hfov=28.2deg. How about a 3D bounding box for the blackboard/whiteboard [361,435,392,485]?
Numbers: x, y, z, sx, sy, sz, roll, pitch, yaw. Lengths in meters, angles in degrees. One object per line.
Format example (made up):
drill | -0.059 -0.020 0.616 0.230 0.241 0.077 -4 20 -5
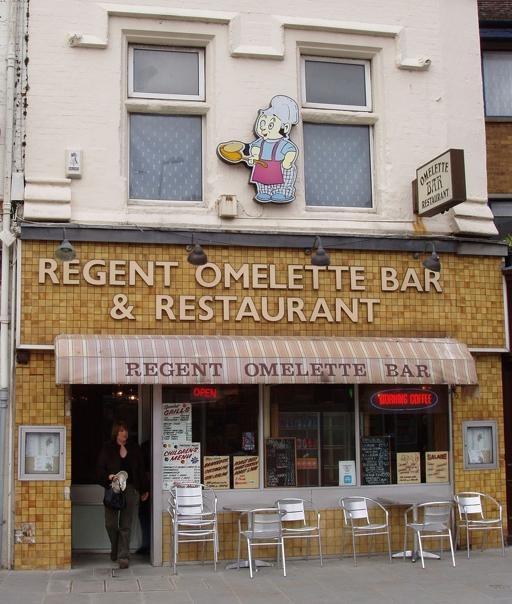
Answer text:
blackboard/whiteboard | 1.557 2.099 13.382 0.547 0.845 0.054 2 -11 -13

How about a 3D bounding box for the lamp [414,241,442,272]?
lamp | 2.276 -0.563 13.162 0.244 0.447 0.462 5 -1 -5

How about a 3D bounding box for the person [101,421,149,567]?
person | -1.684 2.445 12.727 0.575 1.732 0.673 2 4 17

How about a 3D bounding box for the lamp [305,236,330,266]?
lamp | 0.772 -0.591 12.809 0.170 0.306 0.527 0 1 -2

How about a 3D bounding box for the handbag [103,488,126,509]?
handbag | -1.767 2.458 12.587 0.271 0.309 0.234 1 4 3

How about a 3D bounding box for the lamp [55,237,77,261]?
lamp | -2.277 -0.600 12.095 0.229 0.242 0.284 0 4 -12

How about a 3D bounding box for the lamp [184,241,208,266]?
lamp | -0.742 -0.583 12.487 0.253 0.307 0.277 -2 6 2

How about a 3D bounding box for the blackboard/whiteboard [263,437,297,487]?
blackboard/whiteboard | 0.288 2.089 13.115 0.539 0.846 0.060 2 -10 -17

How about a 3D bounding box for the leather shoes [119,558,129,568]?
leather shoes | -1.630 3.209 12.498 0.116 0.101 0.218 1 4 -8

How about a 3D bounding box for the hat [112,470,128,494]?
hat | -1.690 2.232 12.560 0.123 0.128 0.268 9 19 -12
